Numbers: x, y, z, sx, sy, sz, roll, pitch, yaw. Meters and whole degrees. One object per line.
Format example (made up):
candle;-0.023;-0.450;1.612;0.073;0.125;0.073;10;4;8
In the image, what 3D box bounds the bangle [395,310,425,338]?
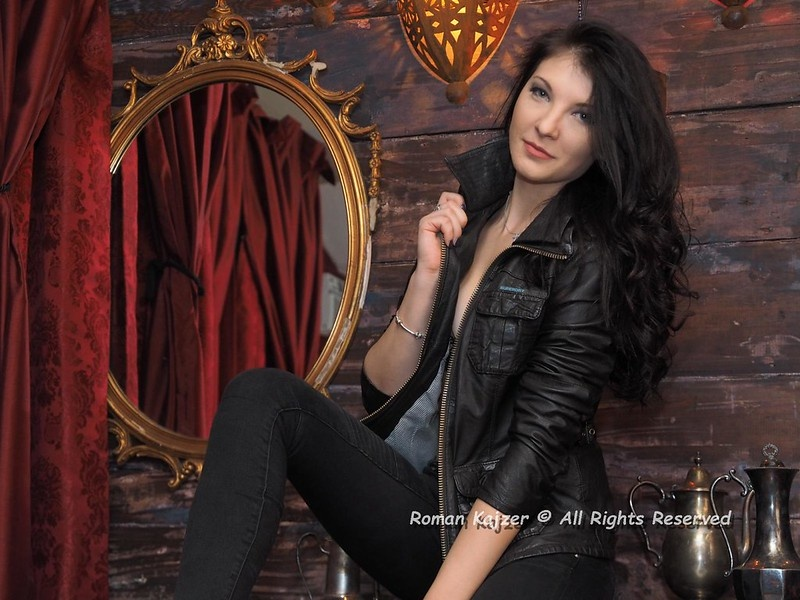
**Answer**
bangle;0.025;0.062;2.353;0.062;0.016;0.052;30;30;-2
